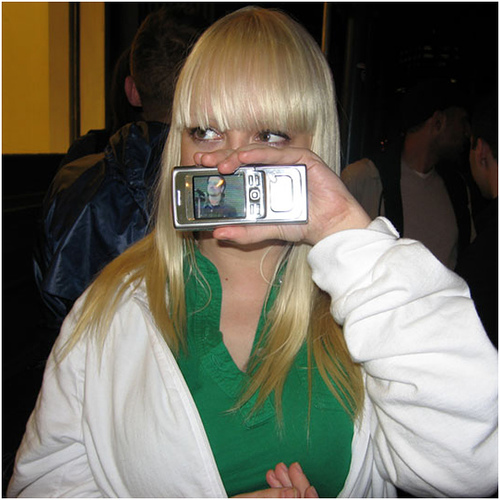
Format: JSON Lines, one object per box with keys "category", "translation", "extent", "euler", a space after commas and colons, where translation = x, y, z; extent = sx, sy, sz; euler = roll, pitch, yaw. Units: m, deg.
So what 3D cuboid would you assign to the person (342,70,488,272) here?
{"category": "person", "translation": [1.048, -0.384, 2.991], "extent": [0.548, 1.254, 1.103], "euler": [-3, -8, 34]}
